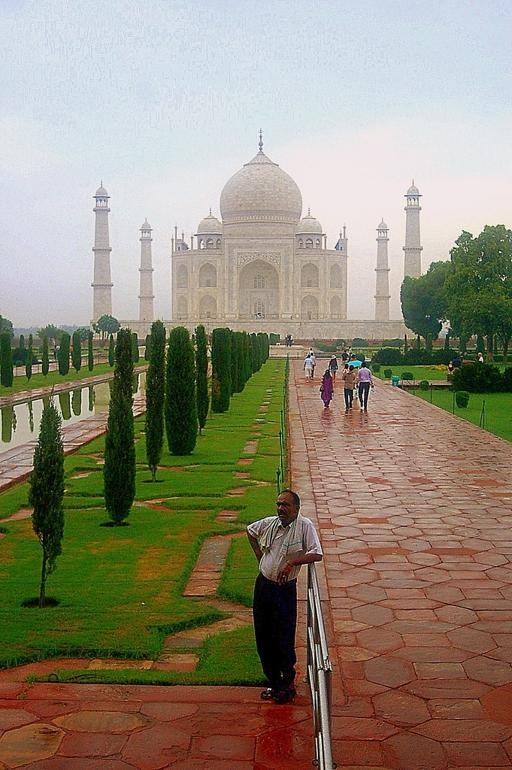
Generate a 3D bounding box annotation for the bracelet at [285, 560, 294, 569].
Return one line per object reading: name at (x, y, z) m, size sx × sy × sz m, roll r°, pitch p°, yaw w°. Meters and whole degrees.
bracelet at (0.108, 0.595, 2.373) m, size 0.019 × 0.023 × 0.016 m, roll 2°, pitch 10°, yaw -1°
